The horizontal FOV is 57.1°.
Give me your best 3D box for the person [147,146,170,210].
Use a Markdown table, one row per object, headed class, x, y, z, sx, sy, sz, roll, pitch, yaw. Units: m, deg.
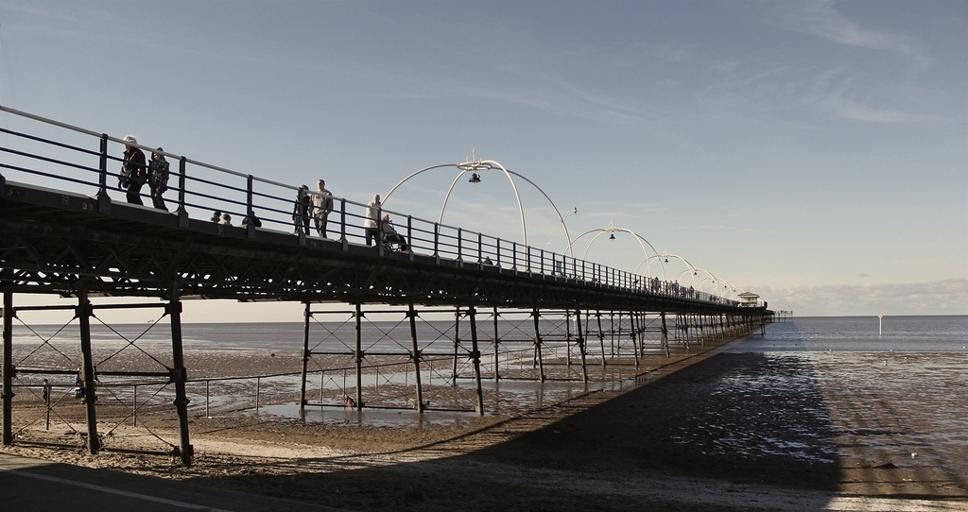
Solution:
| class | x | y | z | sx | sy | sz | roll | pitch | yaw |
| --- | --- | --- | --- | --- | --- | --- | --- | --- | --- |
| person | -16.365 | -3.829 | 44.651 | 0.920 | 3.002 | 0.809 | -2 | -2 | 9 |
